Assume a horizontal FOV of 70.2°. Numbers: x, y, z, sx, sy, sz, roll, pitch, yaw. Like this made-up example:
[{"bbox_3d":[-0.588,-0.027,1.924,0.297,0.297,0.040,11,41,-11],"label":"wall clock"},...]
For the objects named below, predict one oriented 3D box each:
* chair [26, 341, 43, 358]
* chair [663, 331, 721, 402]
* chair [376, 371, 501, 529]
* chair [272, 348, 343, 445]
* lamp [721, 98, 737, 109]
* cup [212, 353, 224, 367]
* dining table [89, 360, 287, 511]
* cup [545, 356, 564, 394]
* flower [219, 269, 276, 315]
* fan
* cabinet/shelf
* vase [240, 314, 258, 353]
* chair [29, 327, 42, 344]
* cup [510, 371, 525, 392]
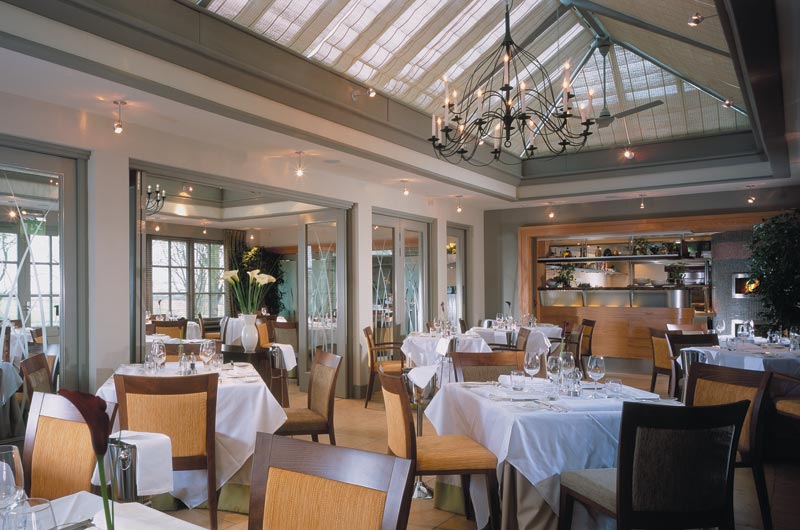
[{"bbox_3d":[-3.567,0.810,5.512,0.142,0.180,0.144,-3,-5,31],"label":"chair"},{"bbox_3d":[3.572,1.217,7.137,0.657,1.141,0.814,-2,-7,21],"label":"chair"},{"bbox_3d":[0.385,1.459,5.055,1.124,1.726,1.023,-2,-4,-7],"label":"chair"},{"bbox_3d":[-0.929,1.360,5.436,0.735,0.986,0.643,-1,3,-18],"label":"chair"},{"bbox_3d":[5.058,-2.476,8.706,0.153,0.170,0.125,18,-13,-20],"label":"lamp"},{"bbox_3d":[-1.807,0.914,5.549,0.108,0.111,0.112,0,-3,0],"label":"cup"},{"bbox_3d":[-1.412,1.437,5.460,1.501,0.938,1.632,0,-5,20],"label":"dining table"},{"bbox_3d":[1.271,0.917,4.640,0.143,0.381,0.147,-2,8,0],"label":"cup"},{"bbox_3d":[-1.869,0.344,6.803,0.596,0.703,0.670,-6,-4,-20],"label":"flower"},{"bbox_3d":[3.197,-2.709,8.551,1.432,1.382,1.342,1,-47,21],"label":"fan"},{"bbox_3d":[4.637,0.399,13.052,2.352,1.173,3.445,0,2,-15],"label":"cabinet/shelf"},{"bbox_3d":[-1.764,0.791,6.640,0.157,0.439,0.522,0,-5,-15],"label":"vase"},{"bbox_3d":[-3.646,0.703,5.686,0.118,0.153,0.127,3,2,29],"label":"chair"},{"bbox_3d":[0.967,0.959,4.690,0.127,0.151,0.128,-1,-3,0],"label":"cup"}]
